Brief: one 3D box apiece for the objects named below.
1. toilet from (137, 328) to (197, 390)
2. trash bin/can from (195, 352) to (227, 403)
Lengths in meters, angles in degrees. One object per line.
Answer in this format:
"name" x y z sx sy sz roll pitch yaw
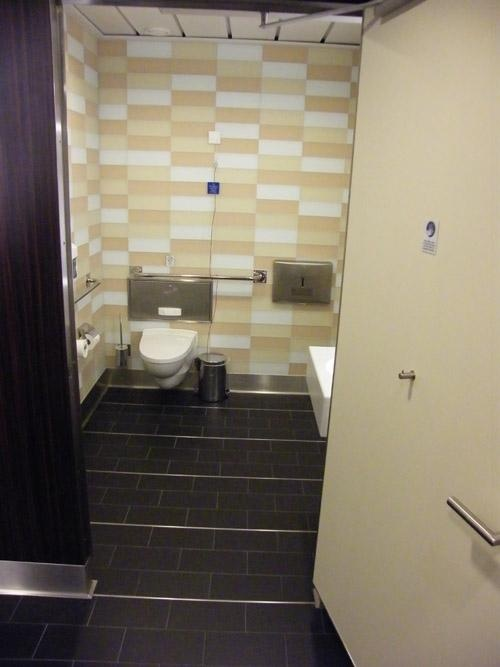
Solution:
"toilet" -0.608 0.210 3.885 0.349 0.345 0.465 0 30 -4
"trash bin/can" -0.258 0.338 3.957 0.312 0.407 0.288 2 24 -1
